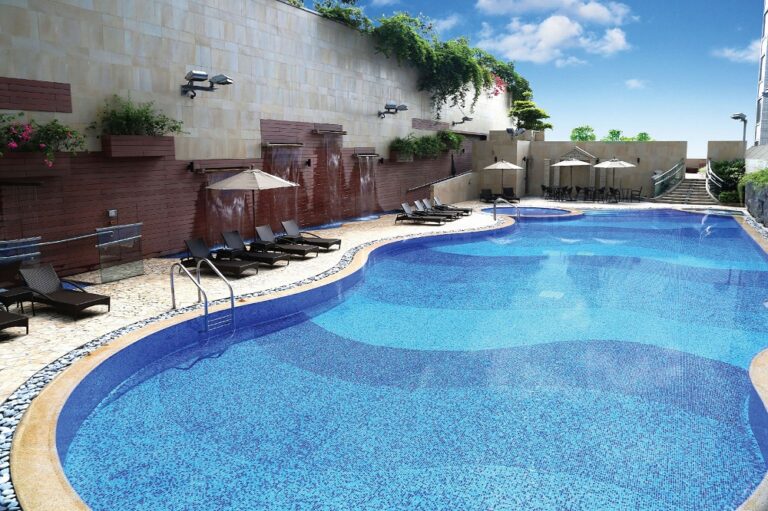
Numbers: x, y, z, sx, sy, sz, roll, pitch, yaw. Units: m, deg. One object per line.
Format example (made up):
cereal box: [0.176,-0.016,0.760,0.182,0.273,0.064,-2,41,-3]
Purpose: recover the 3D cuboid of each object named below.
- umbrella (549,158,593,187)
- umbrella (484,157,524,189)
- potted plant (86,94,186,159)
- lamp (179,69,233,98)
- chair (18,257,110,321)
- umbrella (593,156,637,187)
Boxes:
umbrella: [12.642,-5.533,30.162,2.480,1.788,2.214,-2,11,12]
umbrella: [7.029,-4.840,27.596,2.592,1.768,2.477,5,16,26]
potted plant: [-7.010,-3.687,13.066,0.849,1.727,2.167,5,11,36]
lamp: [-5.591,-5.411,14.399,1.142,0.788,1.616,25,27,29]
chair: [-6.720,0.721,9.594,1.579,0.557,0.857,15,17,16]
umbrella: [14.599,-5.109,28.935,2.777,1.565,2.653,1,13,21]
